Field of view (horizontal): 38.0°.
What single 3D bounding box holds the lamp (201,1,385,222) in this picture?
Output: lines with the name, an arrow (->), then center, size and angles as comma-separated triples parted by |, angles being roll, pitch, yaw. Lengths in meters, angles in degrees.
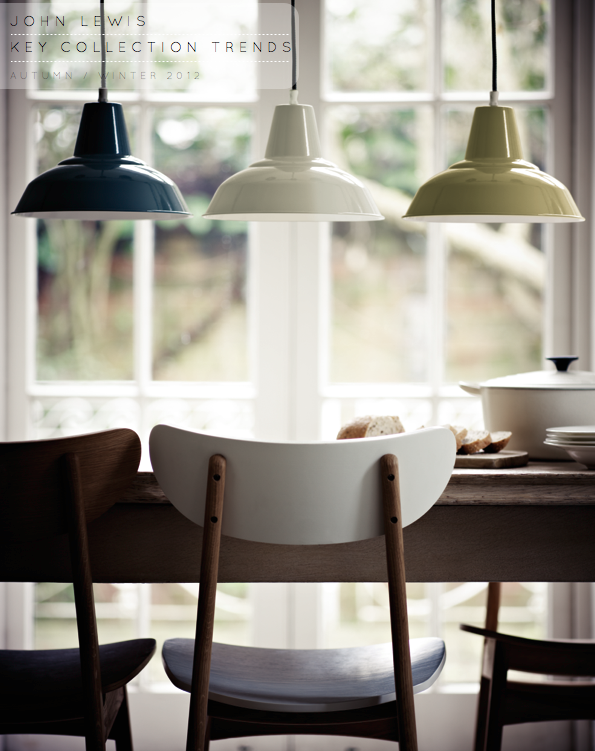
lamp -> -0.005, -0.372, 1.478 | 0.239, 0.206, 0.227 | -9, 12, -38

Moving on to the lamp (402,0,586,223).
lamp -> 0.358, -0.507, 1.631 | 0.313, 0.430, 0.339 | -1, 10, 7

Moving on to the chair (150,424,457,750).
chair -> 0.016, 0.372, 1.434 | 0.527, 0.688, 0.489 | 1, 0, 1

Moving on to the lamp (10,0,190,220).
lamp -> -0.338, -0.424, 1.728 | 0.403, 0.517, 0.399 | 0, 3, -15
